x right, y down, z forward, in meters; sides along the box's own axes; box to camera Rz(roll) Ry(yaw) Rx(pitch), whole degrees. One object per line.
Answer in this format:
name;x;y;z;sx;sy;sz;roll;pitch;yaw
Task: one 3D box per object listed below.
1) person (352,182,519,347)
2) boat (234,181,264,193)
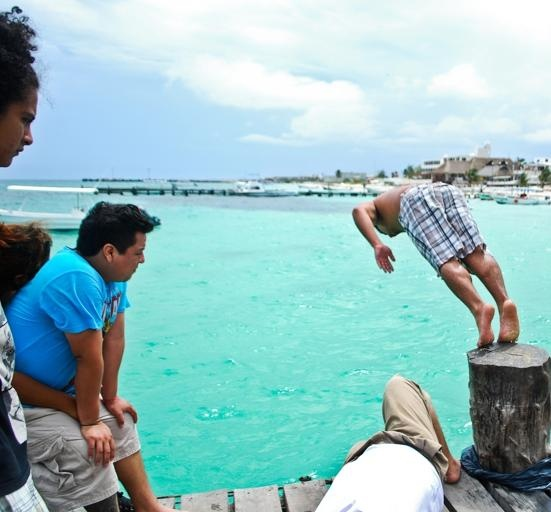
person;1.566;-0.203;4.891;1.269;0.955;2.509;-9;30;-5
boat;-4.114;-11.180;79.816;4.825;1.760;2.139;6;12;35
